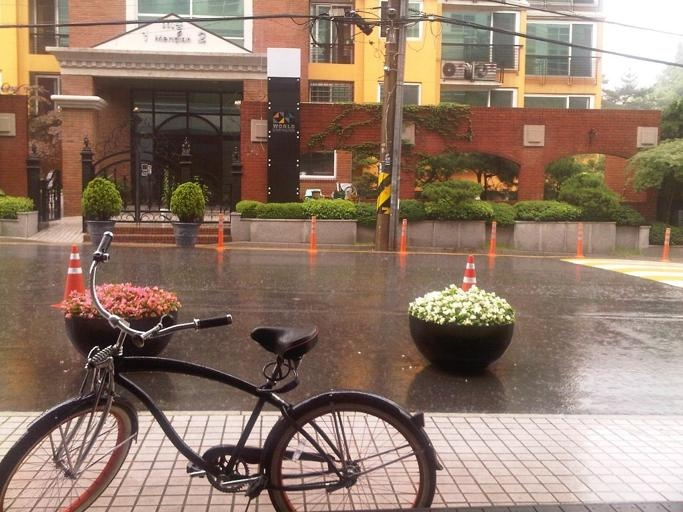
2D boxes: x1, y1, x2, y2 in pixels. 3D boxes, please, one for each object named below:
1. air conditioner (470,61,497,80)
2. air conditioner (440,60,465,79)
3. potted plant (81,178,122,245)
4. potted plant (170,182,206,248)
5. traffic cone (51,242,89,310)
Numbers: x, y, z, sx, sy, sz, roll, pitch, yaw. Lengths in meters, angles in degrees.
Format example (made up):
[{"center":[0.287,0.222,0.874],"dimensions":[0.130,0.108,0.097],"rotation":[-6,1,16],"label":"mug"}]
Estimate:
[{"center":[6.549,-8.631,37.992],"dimensions":[1.412,1.004,0.777],"rotation":[-2,7,-10],"label":"air conditioner"},{"center":[5.046,-8.609,37.589],"dimensions":[1.327,0.902,0.802],"rotation":[-10,16,-43],"label":"air conditioner"},{"center":[-7.287,-1.323,24.979],"dimensions":[1.204,2.011,1.201],"rotation":[5,7,-10],"label":"potted plant"},{"center":[-4.819,-1.293,25.009],"dimensions":[1.051,1.907,1.062],"rotation":[2,2,-1],"label":"potted plant"},{"center":[-4.505,0.289,13.693],"dimensions":[0.681,0.897,0.681],"rotation":[-4,-4,22],"label":"traffic cone"}]
